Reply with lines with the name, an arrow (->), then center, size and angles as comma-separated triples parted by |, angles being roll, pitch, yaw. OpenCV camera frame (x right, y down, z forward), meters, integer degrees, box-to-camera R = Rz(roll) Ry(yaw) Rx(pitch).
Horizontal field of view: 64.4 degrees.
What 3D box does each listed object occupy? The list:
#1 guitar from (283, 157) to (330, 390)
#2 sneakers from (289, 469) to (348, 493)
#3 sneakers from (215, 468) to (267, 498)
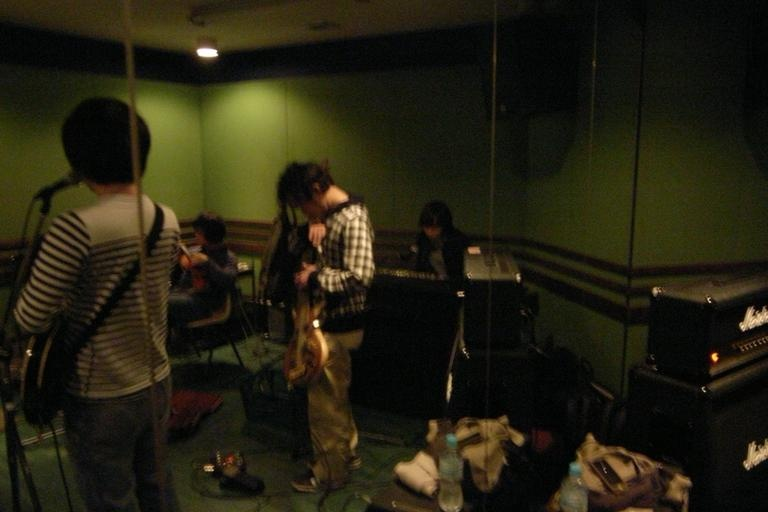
guitar -> -0.296, 0.090, 2.350 | 0.197, 0.883, 0.259 | -1, 5, -5
sneakers -> -0.275, 0.903, 2.478 | 0.240, 0.098, 0.075 | -8, 14, -9
sneakers -> -0.526, 0.843, 2.276 | 0.141, 0.055, 0.086 | 14, 3, -24
